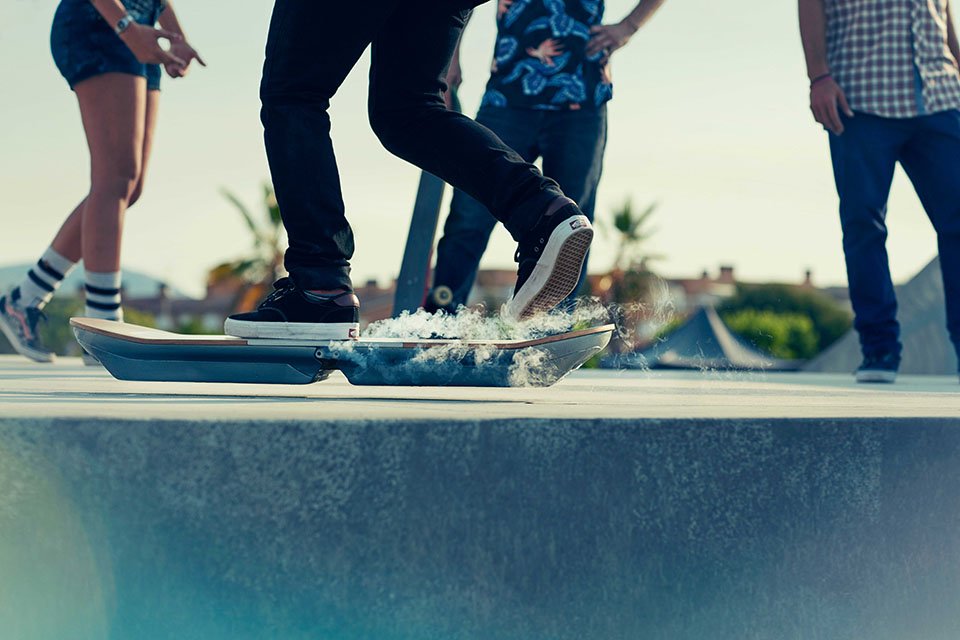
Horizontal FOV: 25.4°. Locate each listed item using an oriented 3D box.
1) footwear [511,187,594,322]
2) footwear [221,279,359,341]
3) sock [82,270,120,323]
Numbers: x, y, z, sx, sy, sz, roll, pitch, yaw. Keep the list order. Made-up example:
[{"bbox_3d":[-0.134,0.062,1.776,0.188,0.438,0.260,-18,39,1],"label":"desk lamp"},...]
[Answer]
[{"bbox_3d":[0.423,-0.266,12.567,0.360,0.897,0.306,27,31,10],"label":"footwear"},{"bbox_3d":[-1.039,-0.031,12.621,0.890,0.402,0.323,4,-5,0],"label":"footwear"},{"bbox_3d":[-2.352,-0.137,13.306,0.275,0.427,0.286,-2,5,-14],"label":"sock"}]
